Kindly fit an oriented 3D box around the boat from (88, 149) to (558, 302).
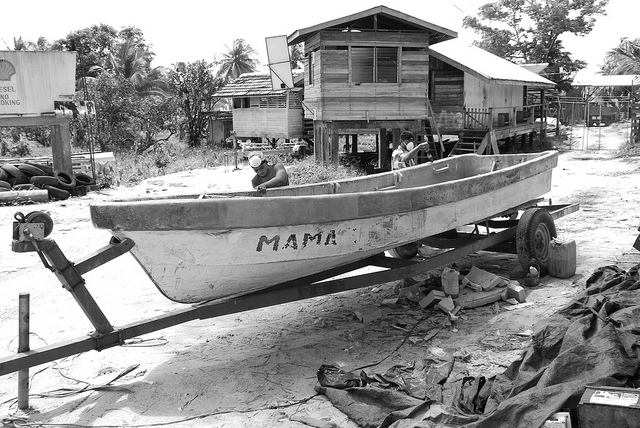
[{"bbox_3d":[0.234,0.211,9.625,7.764,1.802,2.068,-17,13,-38],"label":"boat"}]
